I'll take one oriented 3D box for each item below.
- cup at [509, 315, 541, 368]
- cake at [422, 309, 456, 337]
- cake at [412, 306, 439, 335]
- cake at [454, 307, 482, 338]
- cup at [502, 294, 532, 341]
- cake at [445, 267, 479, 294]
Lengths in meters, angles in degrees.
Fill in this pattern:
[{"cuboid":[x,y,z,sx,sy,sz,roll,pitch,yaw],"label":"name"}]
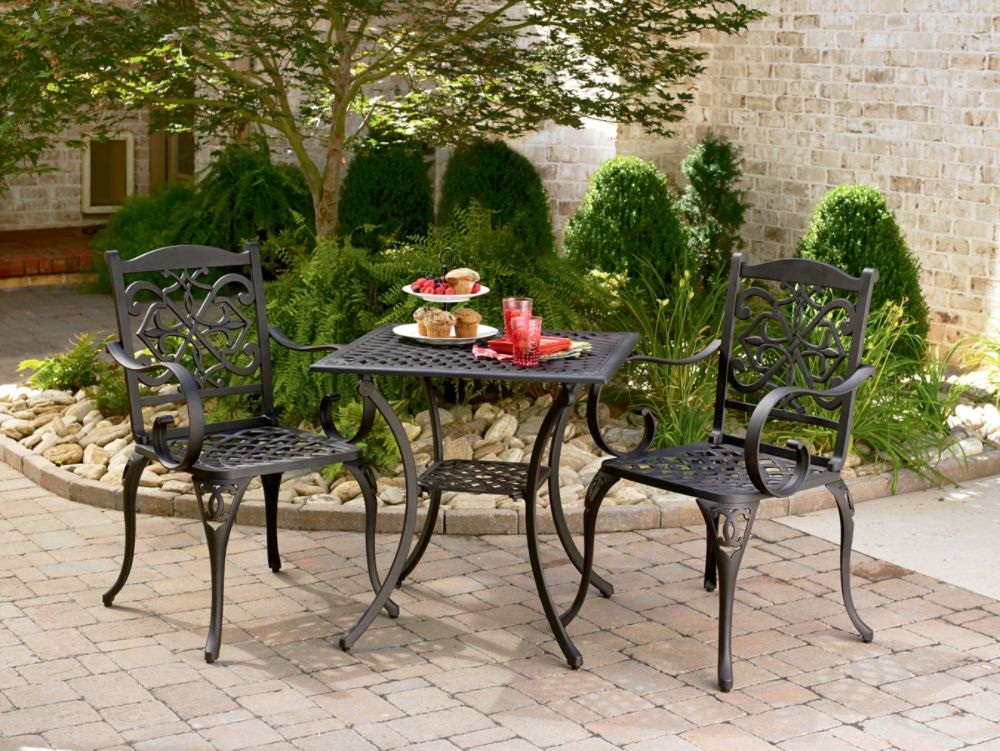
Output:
[{"cuboid":[0.090,-0.123,3.311,0.093,0.181,0.099,1,11,0],"label":"cup"},{"cuboid":[-0.252,-0.208,3.652,0.133,0.074,0.125,-1,6,-38],"label":"cake"},{"cuboid":[-0.298,-0.227,3.729,0.141,0.103,0.121,1,3,1],"label":"cake"},{"cuboid":[-0.134,-0.209,3.670,0.141,0.098,0.118,0,3,-3],"label":"cake"},{"cuboid":[0.068,-0.206,3.435,0.197,0.164,0.171,1,4,2],"label":"cup"},{"cuboid":[-0.174,-0.387,3.766,0.132,0.076,0.125,3,8,30],"label":"cake"}]
